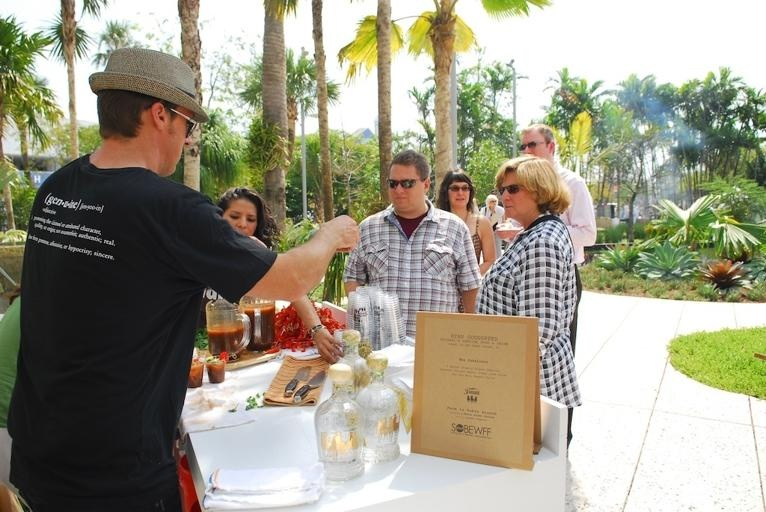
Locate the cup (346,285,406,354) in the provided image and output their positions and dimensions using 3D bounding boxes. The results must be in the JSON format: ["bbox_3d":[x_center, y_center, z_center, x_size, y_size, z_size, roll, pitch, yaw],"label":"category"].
[{"bbox_3d":[-0.034,0.348,3.212,0.284,0.402,0.350,-1,3,-10],"label":"cup"}]

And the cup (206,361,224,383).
[{"bbox_3d":[-0.898,0.624,3.123,0.108,0.115,0.108,-1,2,0],"label":"cup"}]

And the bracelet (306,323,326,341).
[{"bbox_3d":[-0.404,0.463,3.480,0.089,0.055,0.096,-33,5,-23],"label":"bracelet"}]

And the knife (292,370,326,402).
[{"bbox_3d":[-0.367,0.666,2.986,0.062,0.027,0.319,33,-53,-17],"label":"knife"}]

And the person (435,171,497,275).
[{"bbox_3d":[0.826,-0.242,5.980,0.788,1.363,0.776,-1,12,6],"label":"person"}]

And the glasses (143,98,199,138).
[{"bbox_3d":[-0.918,-0.612,2.518,0.122,0.037,0.121,31,-4,4],"label":"glasses"}]

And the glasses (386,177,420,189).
[{"bbox_3d":[0.151,-0.581,4.501,0.255,0.087,0.084,3,12,24],"label":"glasses"}]

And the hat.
[{"bbox_3d":[-1.043,-0.801,2.554,0.523,0.205,0.455,4,11,-34],"label":"hat"}]

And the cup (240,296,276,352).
[{"bbox_3d":[-0.760,0.443,3.500,0.193,0.327,0.321,0,13,-11],"label":"cup"}]
